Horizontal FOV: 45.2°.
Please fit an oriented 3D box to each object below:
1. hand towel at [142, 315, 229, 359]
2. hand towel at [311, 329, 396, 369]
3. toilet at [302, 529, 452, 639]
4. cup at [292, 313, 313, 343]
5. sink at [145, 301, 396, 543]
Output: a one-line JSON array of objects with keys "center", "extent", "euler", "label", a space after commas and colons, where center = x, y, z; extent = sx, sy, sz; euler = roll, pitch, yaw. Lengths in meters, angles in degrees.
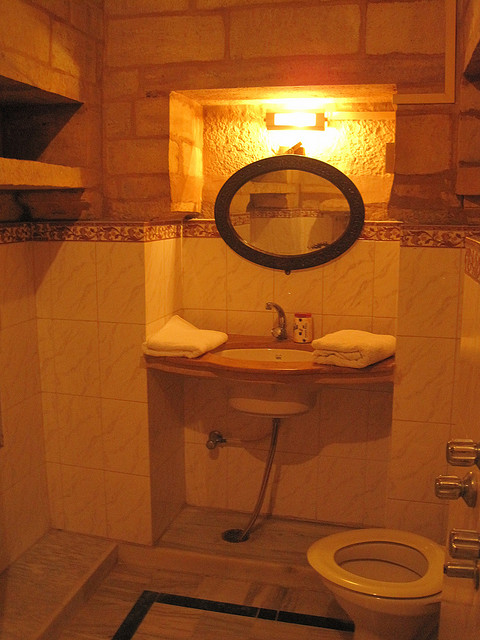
[{"center": [-0.216, 0.033, 2.259], "extent": [0.256, 0.139, 0.261], "euler": [12, 16, 36], "label": "hand towel"}, {"center": [0.431, 0.104, 2.109], "extent": [0.270, 0.121, 0.246], "euler": [4, 1, 27], "label": "hand towel"}, {"center": [0.416, 0.845, 1.804], "extent": [0.408, 0.285, 0.434], "euler": [4, 1, 17], "label": "toilet"}, {"center": [0.258, 0.036, 2.349], "extent": [0.109, 0.145, 0.102], "euler": [0, 3, 0], "label": "cup"}, {"center": [0.116, 0.454, 2.290], "extent": [0.994, 1.015, 0.595], "euler": [2, 6, 12], "label": "sink"}]
